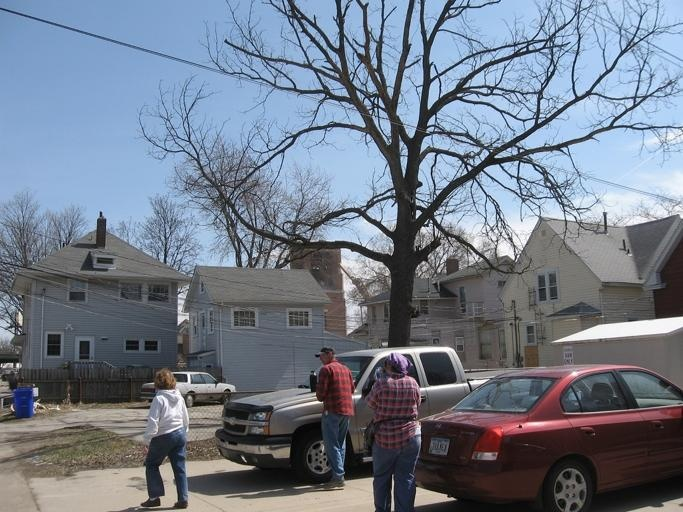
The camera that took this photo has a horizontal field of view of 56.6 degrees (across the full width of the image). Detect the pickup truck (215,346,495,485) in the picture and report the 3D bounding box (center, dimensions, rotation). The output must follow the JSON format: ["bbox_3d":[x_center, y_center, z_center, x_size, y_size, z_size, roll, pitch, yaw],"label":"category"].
[{"bbox_3d":[0.369,2.686,12.189,5.229,1.746,2.235,2,-10,-32],"label":"pickup truck"}]

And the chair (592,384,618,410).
[{"bbox_3d":[3.860,2.070,9.433,0.379,0.447,0.362,6,-9,-9],"label":"chair"}]

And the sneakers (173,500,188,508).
[{"bbox_3d":[-2.509,3.807,9.702,0.236,0.108,0.087,1,-1,42],"label":"sneakers"}]

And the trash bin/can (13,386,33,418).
[{"bbox_3d":[-11.000,5.034,21.611,0.543,0.995,0.515,0,-8,-23],"label":"trash bin/can"}]

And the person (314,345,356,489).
[{"bbox_3d":[-0.121,2.757,10.874,0.637,2.379,0.767,-3,-8,0],"label":"person"}]

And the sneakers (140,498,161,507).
[{"bbox_3d":[-2.954,3.774,9.646,0.340,0.152,0.131,1,-7,-3],"label":"sneakers"}]

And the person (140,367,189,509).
[{"bbox_3d":[-2.786,2.843,9.850,0.698,2.118,0.631,0,-8,-19],"label":"person"}]
